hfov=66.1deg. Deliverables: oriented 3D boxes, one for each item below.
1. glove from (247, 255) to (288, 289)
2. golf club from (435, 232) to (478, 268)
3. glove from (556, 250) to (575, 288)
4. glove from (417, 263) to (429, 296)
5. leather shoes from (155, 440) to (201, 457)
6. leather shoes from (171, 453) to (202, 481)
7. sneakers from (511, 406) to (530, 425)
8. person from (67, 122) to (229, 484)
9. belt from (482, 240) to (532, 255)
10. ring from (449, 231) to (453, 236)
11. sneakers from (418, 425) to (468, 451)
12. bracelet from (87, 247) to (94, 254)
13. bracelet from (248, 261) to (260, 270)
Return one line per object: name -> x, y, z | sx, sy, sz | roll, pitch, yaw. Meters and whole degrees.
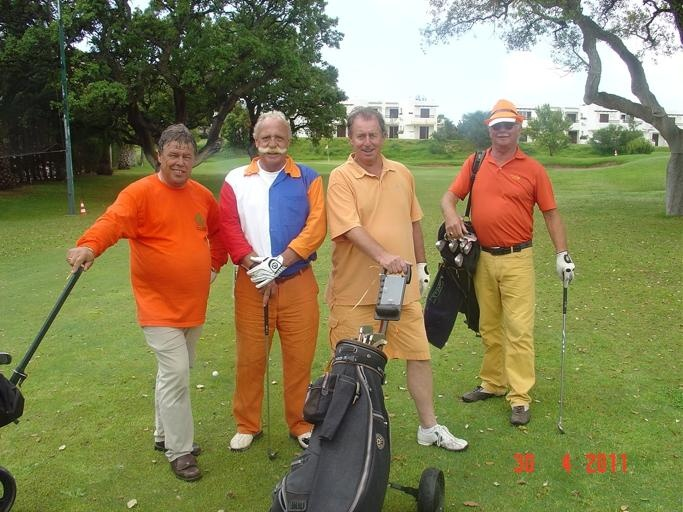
glove -> -0.627, 0.132, 4.499 | 0.337, 0.217, 0.101 | -43, -9, 9
golf club -> 1.196, -0.073, 5.384 | 0.356, 0.365, 0.141 | 2, 4, 30
glove -> 2.219, 0.112, 5.285 | 0.131, 0.364, 0.202 | -17, -34, 16
glove -> 0.734, 0.211, 4.733 | 0.104, 0.266, 0.198 | -6, 9, 5
leather shoes -> -1.478, 1.683, 4.707 | 0.413, 0.167, 0.151 | 1, 4, 5
leather shoes -> -1.259, 1.729, 4.288 | 0.136, 0.112, 0.280 | -2, 2, -40
sneakers -> 1.744, 1.527, 5.117 | 0.193, 0.130, 0.307 | 4, 13, 20
person -> -1.504, 0.330, 4.478 | 0.802, 2.837, 1.363 | 3, 13, 18
belt -> 1.677, -0.088, 5.355 | 0.487, 0.151, 0.182 | 3, 13, 16
ring -> 1.112, -0.227, 5.348 | 0.016, 0.044, 0.031 | -7, 3, -43
sneakers -> 0.874, 1.612, 4.729 | 0.483, 0.212, 0.181 | 3, 3, 7
bracelet -> -1.872, -0.039, 3.906 | 0.037, 0.044, 0.046 | -6, 13, -23
bracelet -> -0.758, 0.076, 4.510 | 0.071, 0.074, 0.066 | -11, -36, 9
